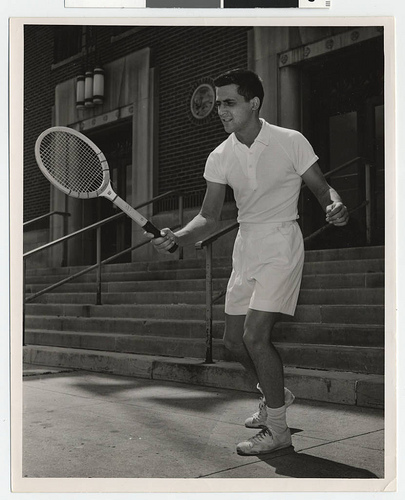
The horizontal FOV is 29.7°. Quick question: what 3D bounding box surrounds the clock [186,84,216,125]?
[{"bbox_3d":[0.010,-2.193,11.400,0.529,0.635,0.031,-5,-10,28],"label":"clock"}]
